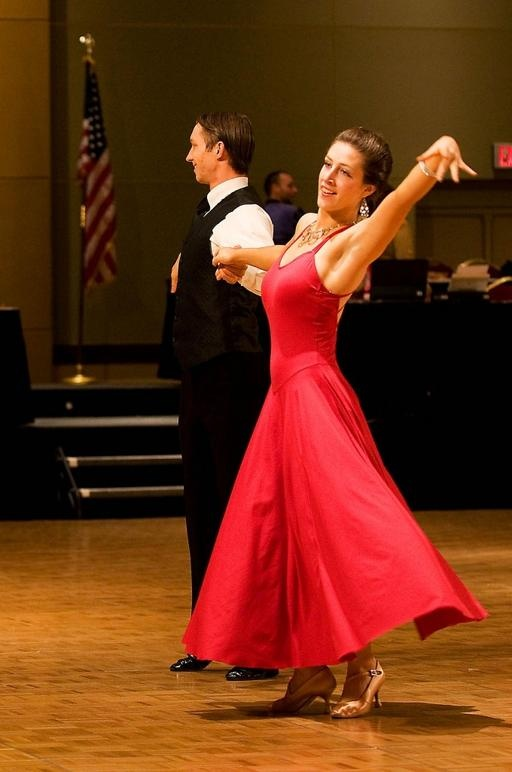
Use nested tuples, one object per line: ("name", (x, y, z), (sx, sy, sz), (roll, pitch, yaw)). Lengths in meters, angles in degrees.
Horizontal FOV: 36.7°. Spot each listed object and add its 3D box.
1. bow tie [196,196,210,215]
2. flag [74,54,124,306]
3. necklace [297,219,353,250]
("bow tie", (-0.154, -0.543, 2.235), (0.028, 0.067, 0.053), (4, -5, -10))
("flag", (-1.420, -1.952, 6.875), (0.299, 2.097, 0.490), (0, -1, -12))
("necklace", (0.142, -0.314, 1.574), (0.092, 0.032, 0.085), (3, 6, -22))
